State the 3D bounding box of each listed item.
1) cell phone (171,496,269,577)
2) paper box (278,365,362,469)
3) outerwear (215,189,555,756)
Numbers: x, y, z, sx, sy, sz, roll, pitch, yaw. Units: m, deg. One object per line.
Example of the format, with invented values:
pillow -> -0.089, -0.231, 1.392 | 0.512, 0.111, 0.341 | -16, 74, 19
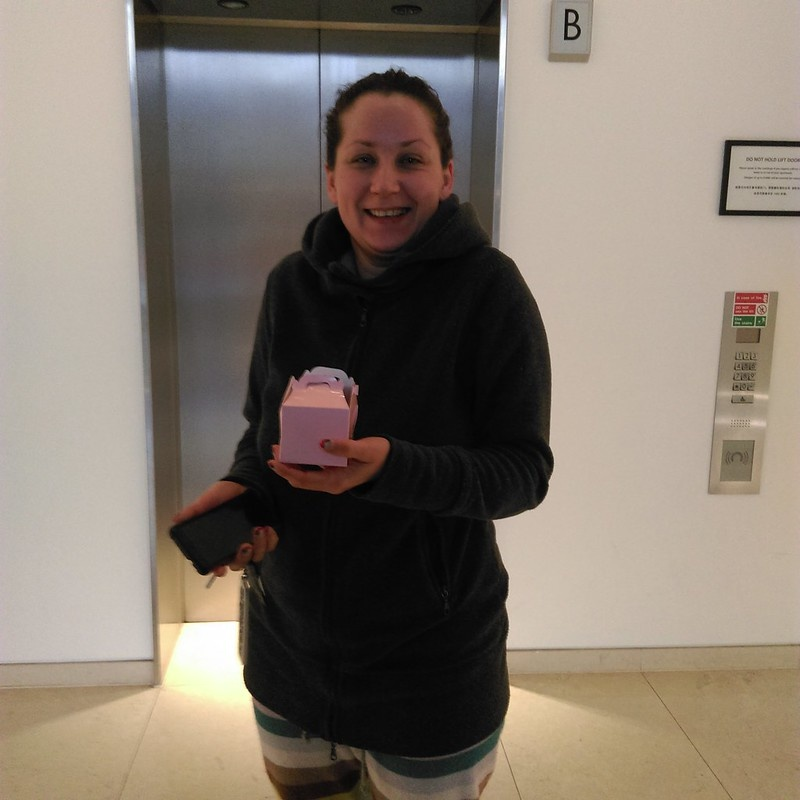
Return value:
cell phone -> -0.267, 0.216, 1.280 | 0.154, 0.035, 0.090 | -25, 62, -35
paper box -> -0.115, 0.028, 1.134 | 0.109, 0.117, 0.134 | 6, -7, -17
outerwear -> -0.050, 0.114, 1.304 | 0.356, 0.836, 0.538 | -9, 18, -33
